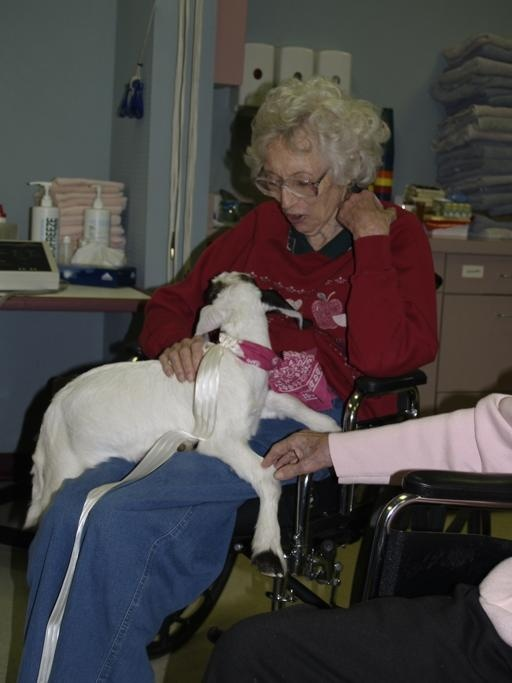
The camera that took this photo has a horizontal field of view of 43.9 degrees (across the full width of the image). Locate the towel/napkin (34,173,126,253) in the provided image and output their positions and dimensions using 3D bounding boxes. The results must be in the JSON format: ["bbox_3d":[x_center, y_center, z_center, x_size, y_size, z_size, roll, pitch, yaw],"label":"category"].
[{"bbox_3d":[-0.631,-0.441,2.335,0.394,0.277,0.339,0,7,-12],"label":"towel/napkin"}]

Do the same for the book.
[{"bbox_3d":[0.772,-0.590,2.927,0.354,0.139,0.455,1,16,-13],"label":"book"}]

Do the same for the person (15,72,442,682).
[{"bbox_3d":[-0.269,0.004,2.030,1.481,1.703,0.932,1,2,-33],"label":"person"}]

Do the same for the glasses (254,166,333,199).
[{"bbox_3d":[0.105,-0.354,1.453,0.142,0.038,0.138,13,19,27],"label":"glasses"}]
